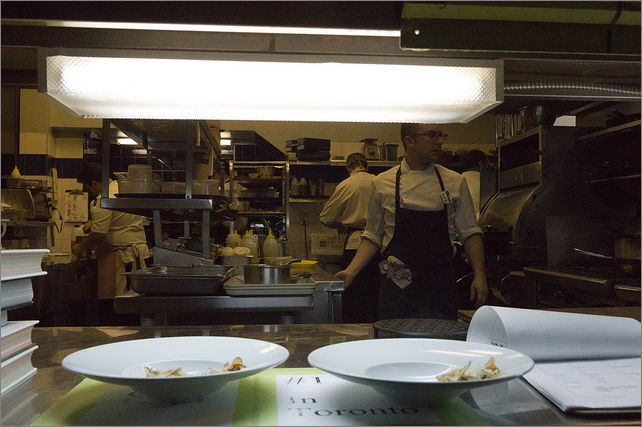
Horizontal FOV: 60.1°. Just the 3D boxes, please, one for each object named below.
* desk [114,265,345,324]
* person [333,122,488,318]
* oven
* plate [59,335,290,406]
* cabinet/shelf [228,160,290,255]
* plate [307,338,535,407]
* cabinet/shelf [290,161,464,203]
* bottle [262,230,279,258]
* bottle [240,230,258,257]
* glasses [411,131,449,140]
[{"bbox_3d":[-0.458,0.485,2.928,1.137,0.295,0.573,1,4,4],"label":"desk"},{"bbox_3d":[0.568,0.041,3.248,0.813,1.156,0.488,2,4,16],"label":"person"},{"bbox_3d":[1.728,-0.161,4.590,0.901,1.124,1.156,1,-2,2],"label":"oven"},{"bbox_3d":[-0.378,0.420,1.487,0.578,0.114,0.306,1,4,1],"label":"plate"},{"bbox_3d":[-0.673,-0.153,6.046,0.784,1.346,0.929,0,1,0],"label":"cabinet/shelf"},{"bbox_3d":[0.257,0.427,1.459,0.582,0.117,0.268,1,4,-2],"label":"plate"},{"bbox_3d":[0.639,-0.541,6.702,2.191,0.672,0.508,-1,27,-2],"label":"cabinet/shelf"},{"bbox_3d":[-0.352,0.212,3.876,0.106,0.179,0.268,0,4,-5],"label":"bottle"},{"bbox_3d":[-0.537,0.238,4.149,0.130,0.205,0.434,0,5,-8],"label":"bottle"},{"bbox_3d":[0.645,-0.459,3.251,0.182,0.052,0.070,0,4,-7],"label":"glasses"}]
